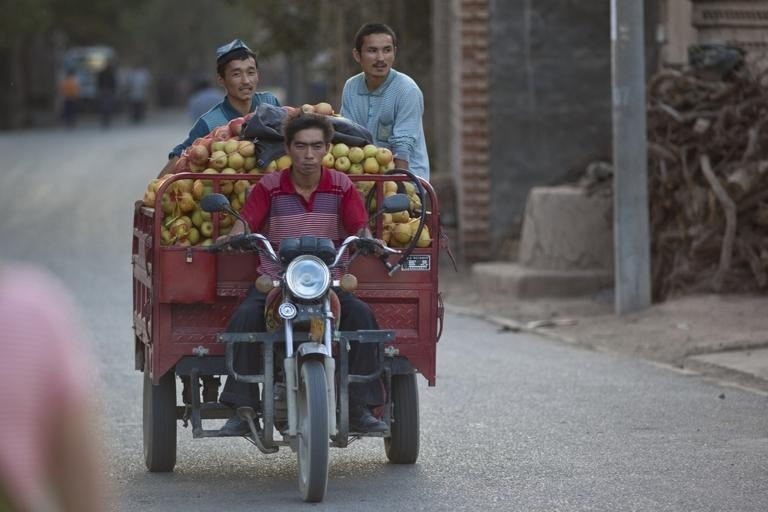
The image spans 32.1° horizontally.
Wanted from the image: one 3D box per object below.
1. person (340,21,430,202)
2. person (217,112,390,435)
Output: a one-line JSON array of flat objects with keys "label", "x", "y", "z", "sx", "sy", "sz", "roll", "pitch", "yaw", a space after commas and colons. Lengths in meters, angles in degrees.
[{"label": "person", "x": -0.107, "y": -1.229, "z": 11.145, "sx": 0.663, "sy": 1.421, "sz": 0.838, "roll": 5, "pitch": 18, "yaw": 12}, {"label": "person", "x": -0.595, "y": 0.141, "z": 9.320, "sx": 0.980, "sy": 2.325, "sz": 1.025, "roll": 0, "pitch": -7, "yaw": -5}]
